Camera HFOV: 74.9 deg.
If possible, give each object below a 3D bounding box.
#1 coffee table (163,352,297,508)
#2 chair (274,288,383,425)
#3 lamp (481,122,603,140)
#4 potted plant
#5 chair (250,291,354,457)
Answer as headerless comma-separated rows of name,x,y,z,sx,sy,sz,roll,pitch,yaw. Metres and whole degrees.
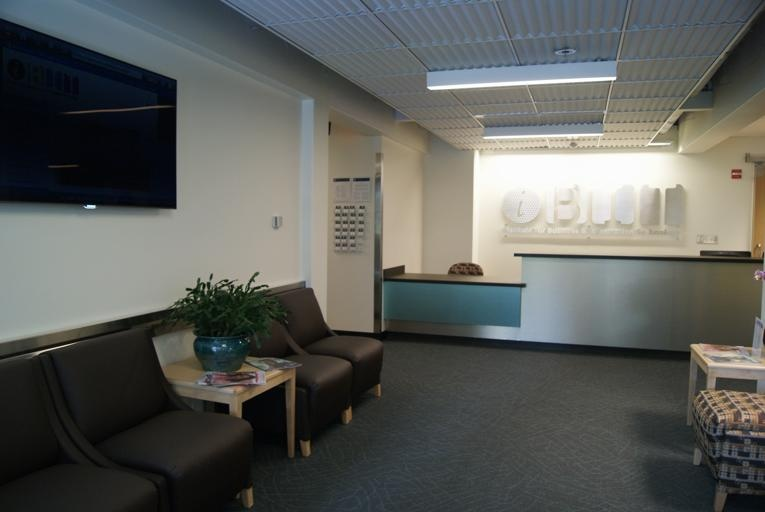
coffee table,-1.208,1.463,4.218,0.967,0.944,0.998,2,4,36
chair,-0.572,0.891,5.305,1.281,1.440,0.897,1,5,25
lamp,2.445,-1.943,7.728,1.767,0.197,0.362,3,9,15
potted plant,-1.334,0.489,4.318,0.818,0.735,0.840,1,3,3
chair,-0.668,1.133,5.017,0.997,1.429,0.987,1,5,22
